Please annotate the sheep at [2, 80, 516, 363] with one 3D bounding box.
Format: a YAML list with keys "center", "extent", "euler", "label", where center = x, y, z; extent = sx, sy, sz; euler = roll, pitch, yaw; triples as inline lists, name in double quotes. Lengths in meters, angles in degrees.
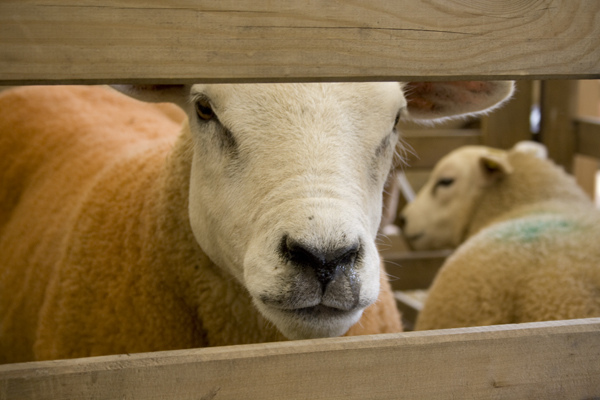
- center: [-0.412, -0.060, 4.036]
  extent: [1.219, 1.677, 2.290]
  euler: [8, 12, -30]
  label: "sheep"
